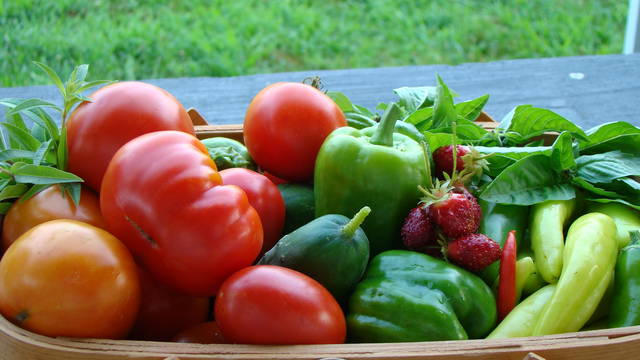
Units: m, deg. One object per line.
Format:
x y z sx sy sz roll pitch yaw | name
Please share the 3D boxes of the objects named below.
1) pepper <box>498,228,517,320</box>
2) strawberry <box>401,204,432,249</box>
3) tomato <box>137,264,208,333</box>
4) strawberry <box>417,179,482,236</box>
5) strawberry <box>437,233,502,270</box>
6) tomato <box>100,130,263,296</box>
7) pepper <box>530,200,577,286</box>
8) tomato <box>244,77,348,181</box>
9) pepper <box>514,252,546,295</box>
0.503 0.254 1.585 0.047 0.237 0.051 8 1 -6 | pepper
0.273 0.136 1.661 0.086 0.112 0.072 18 18 28 | strawberry
-0.417 0.332 1.661 0.191 0.176 0.186 3 -18 43 | tomato
0.353 0.072 1.606 0.164 0.136 0.111 9 32 16 | strawberry
0.426 0.182 1.667 0.200 0.108 0.127 -9 0 10 | strawberry
-0.337 0.081 1.689 0.438 0.391 0.305 48 58 4 | tomato
0.642 0.183 1.628 0.127 0.081 0.274 37 47 -12 | pepper
-0.089 -0.160 1.838 0.291 0.251 0.307 35 -11 -37 | tomato
0.571 0.263 1.618 0.064 0.117 0.051 -31 -11 24 | pepper
